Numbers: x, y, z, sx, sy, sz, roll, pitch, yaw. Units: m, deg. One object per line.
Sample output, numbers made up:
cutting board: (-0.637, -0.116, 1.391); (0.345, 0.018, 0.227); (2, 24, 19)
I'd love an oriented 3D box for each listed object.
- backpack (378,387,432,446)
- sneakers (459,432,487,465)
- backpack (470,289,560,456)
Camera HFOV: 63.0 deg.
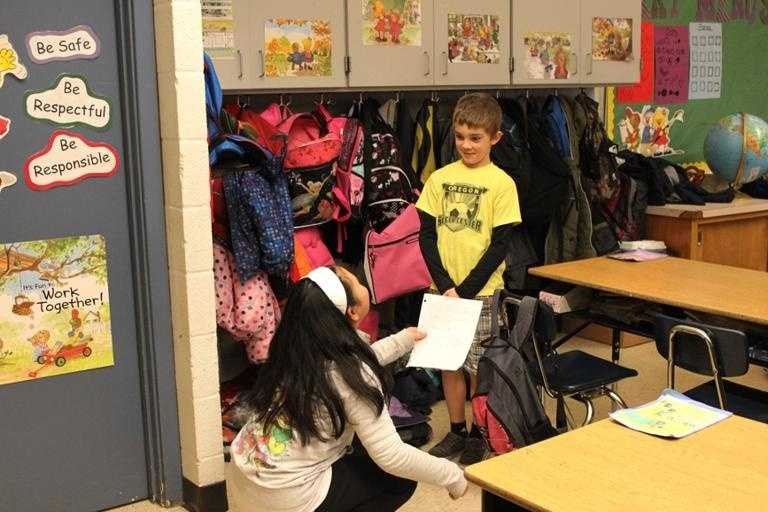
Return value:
backpack: (0.117, 0.990, 3.707); (0.286, 0.089, 0.313); (0, 17, -7)
sneakers: (0.506, 1.052, 3.455); (0.099, 0.111, 0.276); (0, 2, 20)
backpack: (0.619, 0.595, 3.041); (0.416, 0.791, 0.404); (-8, 13, 8)
